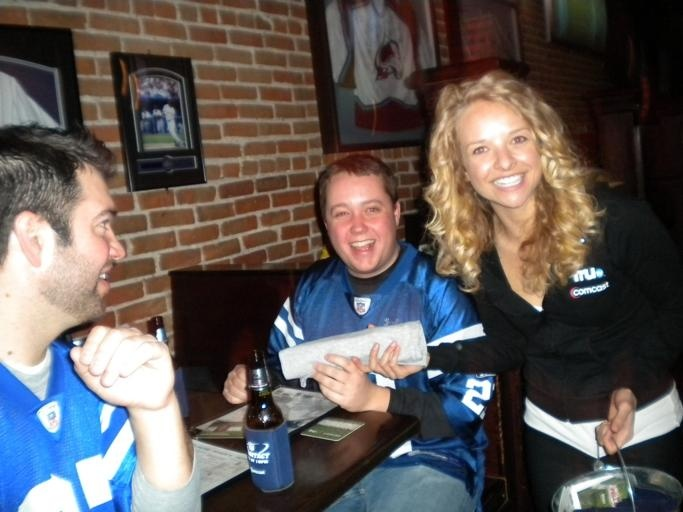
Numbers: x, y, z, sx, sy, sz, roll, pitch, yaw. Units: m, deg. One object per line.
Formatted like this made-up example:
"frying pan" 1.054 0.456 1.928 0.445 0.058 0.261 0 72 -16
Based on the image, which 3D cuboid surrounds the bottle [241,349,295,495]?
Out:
"bottle" -0.207 0.430 1.413 0.120 0.351 0.165 -8 7 -9
